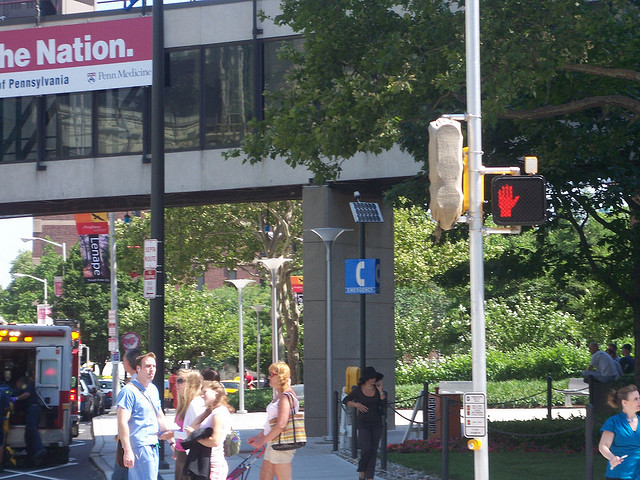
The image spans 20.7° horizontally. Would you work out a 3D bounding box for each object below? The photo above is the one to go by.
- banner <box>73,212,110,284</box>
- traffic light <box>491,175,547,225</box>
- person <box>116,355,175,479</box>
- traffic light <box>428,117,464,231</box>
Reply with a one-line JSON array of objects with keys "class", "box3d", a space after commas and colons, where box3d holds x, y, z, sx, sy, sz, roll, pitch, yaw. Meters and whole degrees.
[{"class": "banner", "box3d": [-8.502, 0.283, 65.550, 1.197, 2.404, 2.727, 0, -5, -7]}, {"class": "traffic light", "box3d": [4.543, -0.899, 40.279, 1.188, 1.060, 0.246, 0, -1, 1]}, {"class": "person", "box3d": [-4.137, 4.068, 41.038, 1.276, 2.835, 0.501, 2, -5, -36]}, {"class": "traffic light", "box3d": [2.879, -1.536, 40.430, 0.747, 2.509, 0.315, -1, -4, 2]}]
